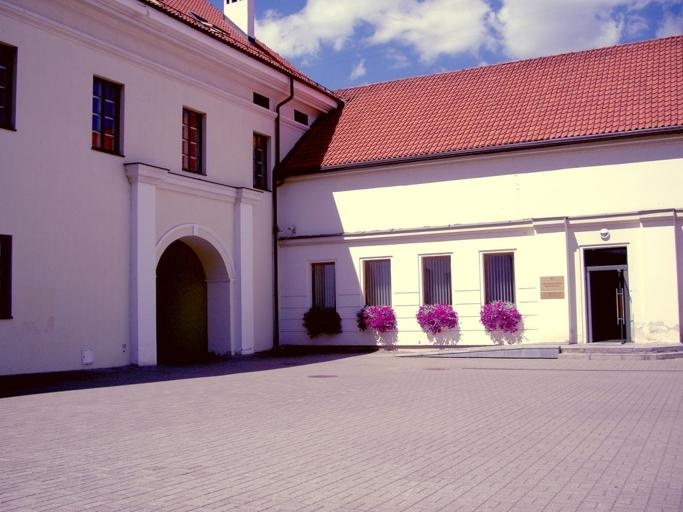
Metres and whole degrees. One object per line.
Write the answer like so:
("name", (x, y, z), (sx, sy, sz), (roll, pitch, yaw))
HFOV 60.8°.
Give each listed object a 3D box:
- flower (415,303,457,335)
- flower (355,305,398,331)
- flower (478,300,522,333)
("flower", (3.583, 2.325, 21.859), (1.206, 0.808, 1.178), (4, -5, -39))
("flower", (1.410, 2.452, 22.869), (1.108, 0.587, 1.065), (-1, -6, 28))
("flower", (5.684, 2.191, 20.906), (1.160, 0.841, 1.076), (0, -6, 29))
